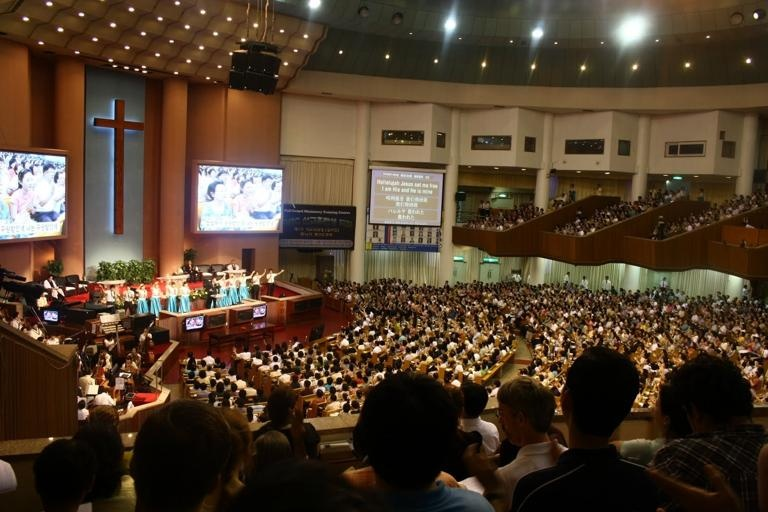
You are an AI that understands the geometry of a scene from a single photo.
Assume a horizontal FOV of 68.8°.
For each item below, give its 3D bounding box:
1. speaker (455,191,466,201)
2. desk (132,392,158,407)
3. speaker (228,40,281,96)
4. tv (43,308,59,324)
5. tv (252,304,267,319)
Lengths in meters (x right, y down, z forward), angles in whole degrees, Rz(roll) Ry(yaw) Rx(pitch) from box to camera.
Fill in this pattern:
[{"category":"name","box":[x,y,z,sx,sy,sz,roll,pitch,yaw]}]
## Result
[{"category":"speaker","box":[3.869,-3.114,28.351,0.427,0.584,0.782,5,2,1]},{"category":"desk","box":[-4.703,2.746,11.060,0.434,0.259,0.926,3,-1,-17]},{"category":"speaker","box":[-3.480,-5.145,15.084,1.255,1.347,0.573,2,-1,-11]},{"category":"tv","box":[-8.847,1.590,14.885,0.369,0.332,0.210,3,5,10]},{"category":"tv","box":[-3.907,1.701,17.420,0.061,0.325,0.448,2,1,33]}]
